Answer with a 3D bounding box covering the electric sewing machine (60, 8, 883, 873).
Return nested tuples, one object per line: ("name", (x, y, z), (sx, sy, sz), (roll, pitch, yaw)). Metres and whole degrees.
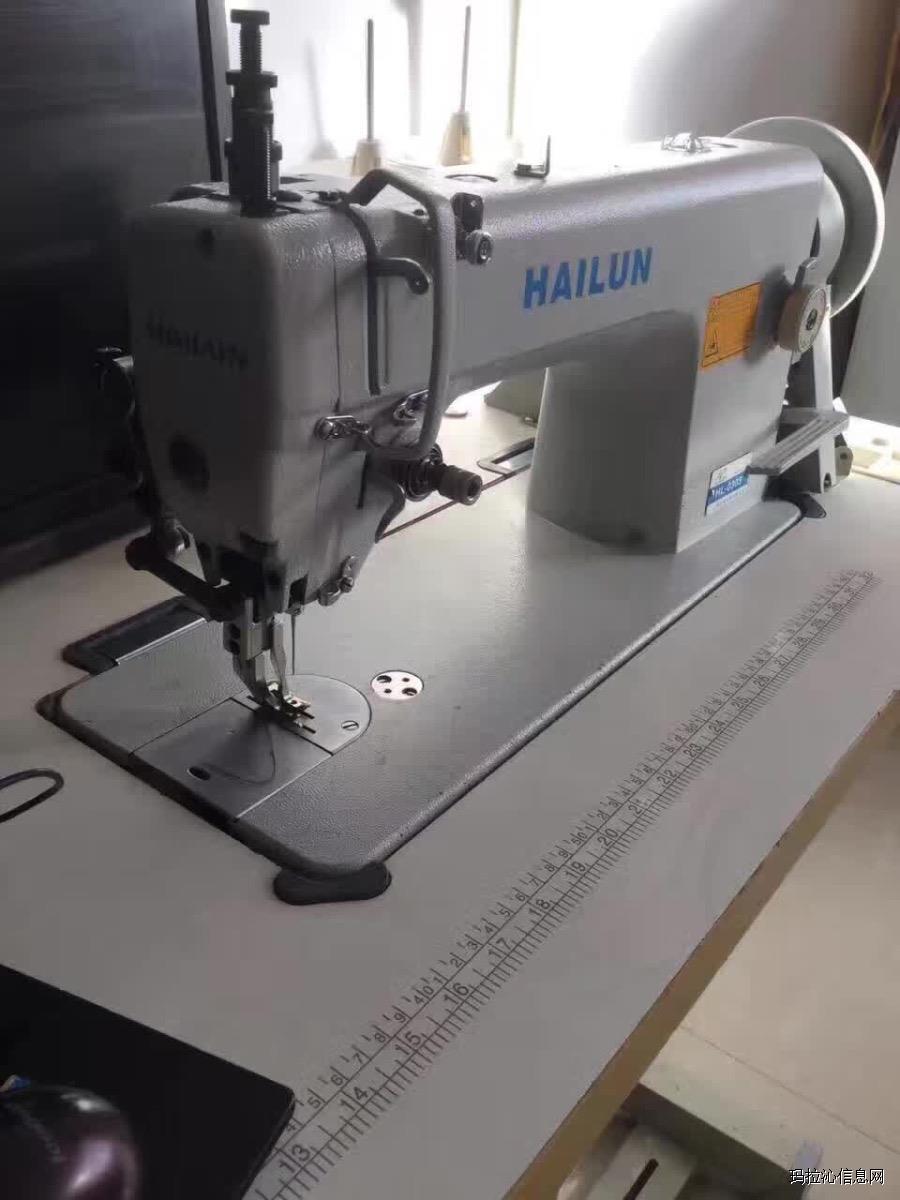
("electric sewing machine", (0.125, -0.241, 1.117), (0.445, 0.534, 1.076), (26, 39, 34))
